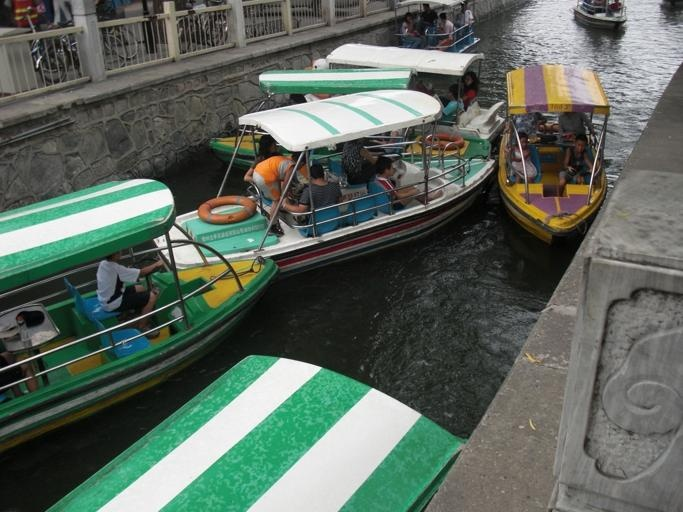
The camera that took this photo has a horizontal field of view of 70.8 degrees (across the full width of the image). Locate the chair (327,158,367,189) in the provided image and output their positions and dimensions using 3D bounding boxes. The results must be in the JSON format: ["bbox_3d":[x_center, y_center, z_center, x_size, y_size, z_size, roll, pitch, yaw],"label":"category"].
[{"bbox_3d":[-0.049,-1.719,9.970,0.649,0.316,0.846,-14,38,-16],"label":"chair"}]

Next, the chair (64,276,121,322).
[{"bbox_3d":[-3.468,0.628,6.759,0.419,0.648,0.802,-23,32,-32],"label":"chair"}]

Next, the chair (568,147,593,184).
[{"bbox_3d":[4.867,-1.798,9.899,0.539,0.750,0.742,5,37,20],"label":"chair"}]

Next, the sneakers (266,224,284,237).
[{"bbox_3d":[-1.161,-0.451,8.741,0.384,0.272,0.125,-1,26,-4],"label":"sneakers"}]

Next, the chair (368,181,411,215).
[{"bbox_3d":[0.871,-1.110,9.283,0.668,0.698,0.494,-28,51,-20],"label":"chair"}]

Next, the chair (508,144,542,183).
[{"bbox_3d":[3.977,-1.933,10.414,0.633,0.878,0.953,2,13,8],"label":"chair"}]

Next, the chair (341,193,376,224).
[{"bbox_3d":[0.370,-0.833,9.016,0.542,0.711,0.556,-16,46,-11],"label":"chair"}]

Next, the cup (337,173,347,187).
[{"bbox_3d":[0.045,-1.484,9.606,0.181,0.095,0.281,-2,25,-11],"label":"cup"}]

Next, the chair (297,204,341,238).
[{"bbox_3d":[-0.413,-0.716,8.840,0.687,0.513,0.587,-17,36,-21],"label":"chair"}]

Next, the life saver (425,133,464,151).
[{"bbox_3d":[2.461,-2.695,11.610,0.863,0.232,0.862,7,29,12],"label":"life saver"}]
